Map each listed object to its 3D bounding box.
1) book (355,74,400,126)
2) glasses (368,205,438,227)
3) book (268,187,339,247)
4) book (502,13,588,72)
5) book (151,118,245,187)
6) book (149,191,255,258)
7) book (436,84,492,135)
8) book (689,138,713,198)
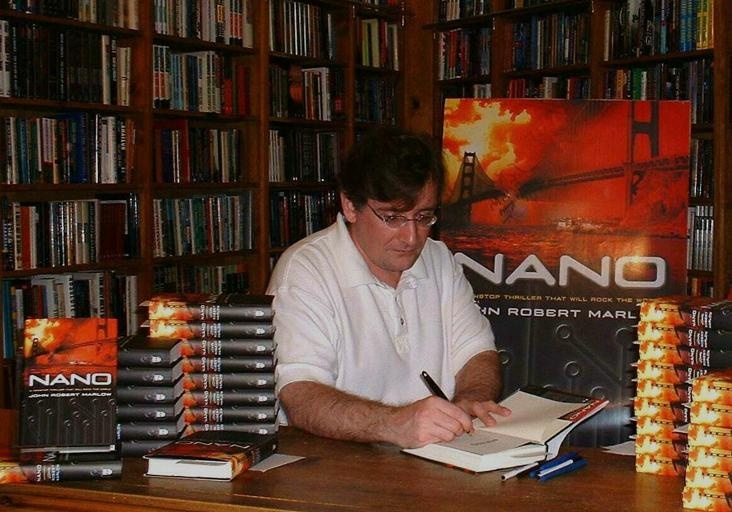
[{"bbox_3d":[0.060,-1.178,4.908,0.167,0.429,0.521,-7,-5,35],"label":"book"},{"bbox_3d":[0.120,-0.127,2.081,0.219,0.076,0.067,-2,-4,-4],"label":"glasses"},{"bbox_3d":[-0.421,-0.247,4.033,0.471,0.364,0.154,-8,13,-43],"label":"book"},{"bbox_3d":[1.256,-1.463,4.422,0.530,0.418,0.291,-2,-4,43],"label":"book"},{"bbox_3d":[-1.030,-0.612,3.884,0.239,0.279,0.562,0,-1,39],"label":"book"},{"bbox_3d":[-1.020,-0.189,3.954,0.193,0.220,0.507,-1,1,42],"label":"book"},{"bbox_3d":[0.741,-1.148,4.865,0.252,0.386,0.544,-2,-4,-21],"label":"book"},{"bbox_3d":[1.996,-0.511,3.825,0.158,0.365,0.072,-6,-5,33],"label":"book"}]
